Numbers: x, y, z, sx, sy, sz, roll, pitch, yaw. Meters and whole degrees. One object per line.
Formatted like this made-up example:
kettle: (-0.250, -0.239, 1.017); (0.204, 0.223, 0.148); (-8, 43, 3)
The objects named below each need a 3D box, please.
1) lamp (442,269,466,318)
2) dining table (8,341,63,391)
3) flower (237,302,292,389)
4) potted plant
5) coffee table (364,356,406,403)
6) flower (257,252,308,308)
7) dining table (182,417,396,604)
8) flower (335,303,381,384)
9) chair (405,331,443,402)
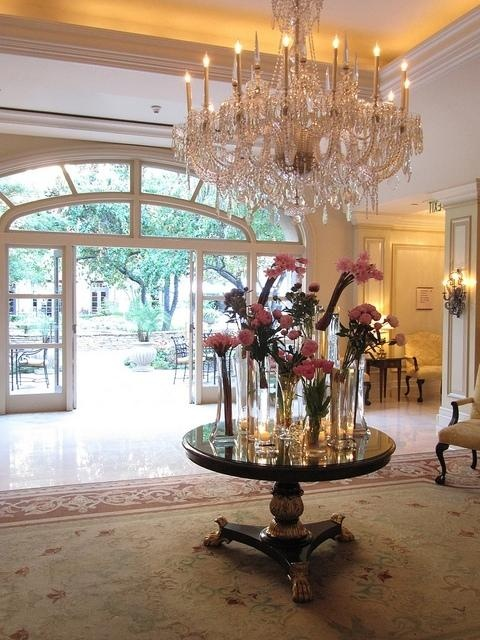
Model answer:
lamp: (2.516, -0.312, 6.054); (0.281, 0.565, 0.135); (0, 0, 31)
dining table: (-2.632, 0.603, 6.960); (0.655, 0.835, 0.532); (4, -1, -10)
flower: (0.138, 0.145, 2.609); (0.290, 0.378, 0.260); (1, 12, -16)
potted plant: (-2.104, 0.323, 12.804); (1.469, 2.168, 1.412); (1, -1, -27)
coffee table: (2.335, 0.851, 7.978); (0.466, 0.533, 0.488); (1, -1, -24)
flower: (0.221, -0.220, 2.819); (0.202, 0.247, 0.178); (0, 20, -18)
dining table: (0.260, 0.965, 2.761); (1.103, 0.648, 1.047); (1, -2, -30)
flower: (0.602, 0.123, 2.652); (0.209, 0.356, 0.222); (14, 1, -35)
chair: (2.952, 0.713, 8.180); (0.661, 0.930, 0.681); (0, 5, -12)
